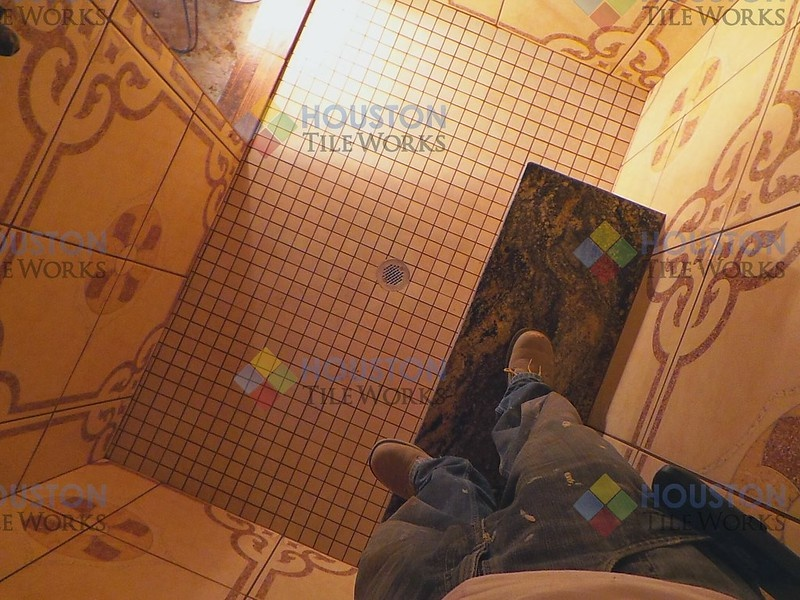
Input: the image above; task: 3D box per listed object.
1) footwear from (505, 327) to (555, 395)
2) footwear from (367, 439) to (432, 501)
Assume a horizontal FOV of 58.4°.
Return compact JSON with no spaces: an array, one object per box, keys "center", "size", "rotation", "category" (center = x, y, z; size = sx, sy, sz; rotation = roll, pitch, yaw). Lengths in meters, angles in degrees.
[{"center":[0.420,0.188,2.337],"size":[0.090,0.088,0.235],"rotation":[4,-98,12],"category":"footwear"},{"center":[-0.008,0.547,2.401],"size":[0.229,0.098,0.137],"rotation":[31,-74,22],"category":"footwear"}]
